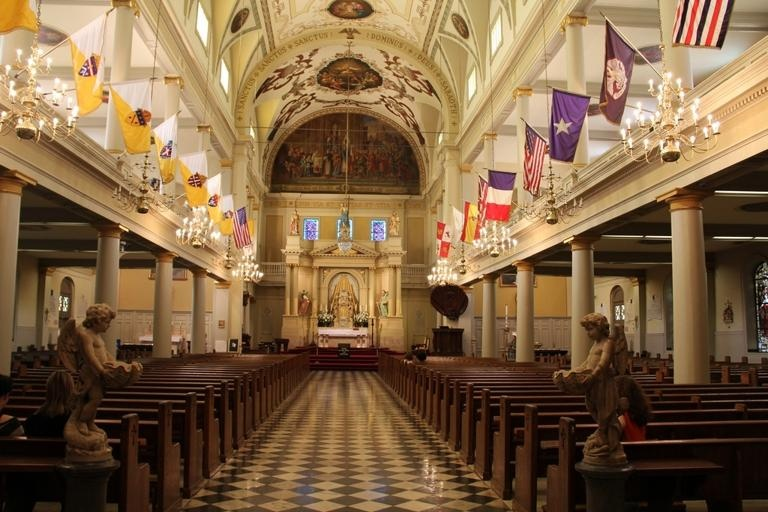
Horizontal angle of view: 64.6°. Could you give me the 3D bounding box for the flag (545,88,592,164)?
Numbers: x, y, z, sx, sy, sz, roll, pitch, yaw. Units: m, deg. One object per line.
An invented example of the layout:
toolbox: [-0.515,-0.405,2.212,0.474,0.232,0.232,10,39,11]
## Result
flag: [4.262,-3.102,14.106,0.938,1.518,0.667,-5,-2,16]

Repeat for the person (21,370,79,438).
person: [-4.133,1.868,7.572,0.840,0.866,0.317,-6,-3,38]

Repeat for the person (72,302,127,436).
person: [-3.482,1.372,7.567,0.671,1.533,0.473,-4,-2,-11]

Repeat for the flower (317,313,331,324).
flower: [-3.430,3.698,35.231,0.803,0.499,0.294,-4,-2,-12]

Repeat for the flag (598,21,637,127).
flag: [4.788,-3.844,12.547,0.734,2.039,0.377,-5,-2,20]

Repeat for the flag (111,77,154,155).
flag: [-5.558,-3.099,13.414,0.769,1.574,0.606,-3,-2,-26]

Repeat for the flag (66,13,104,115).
flag: [-5.644,-3.687,11.644,0.603,2.043,0.546,-3,-2,-28]
